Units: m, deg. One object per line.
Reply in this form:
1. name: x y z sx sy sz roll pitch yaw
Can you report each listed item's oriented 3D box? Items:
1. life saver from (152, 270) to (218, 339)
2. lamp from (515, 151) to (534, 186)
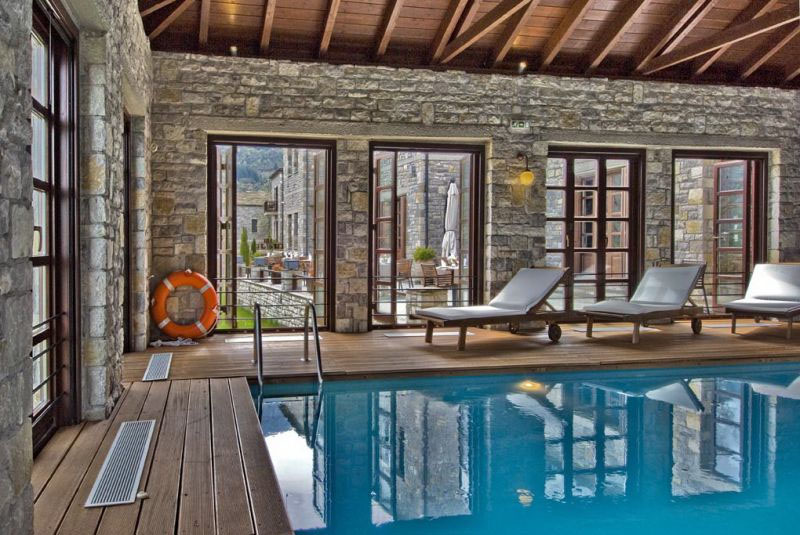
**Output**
1. life saver: -2.655 0.471 7.404 0.786 0.901 0.357 -2 10 -16
2. lamp: 1.790 -1.393 8.419 0.272 0.491 0.194 0 10 -5
